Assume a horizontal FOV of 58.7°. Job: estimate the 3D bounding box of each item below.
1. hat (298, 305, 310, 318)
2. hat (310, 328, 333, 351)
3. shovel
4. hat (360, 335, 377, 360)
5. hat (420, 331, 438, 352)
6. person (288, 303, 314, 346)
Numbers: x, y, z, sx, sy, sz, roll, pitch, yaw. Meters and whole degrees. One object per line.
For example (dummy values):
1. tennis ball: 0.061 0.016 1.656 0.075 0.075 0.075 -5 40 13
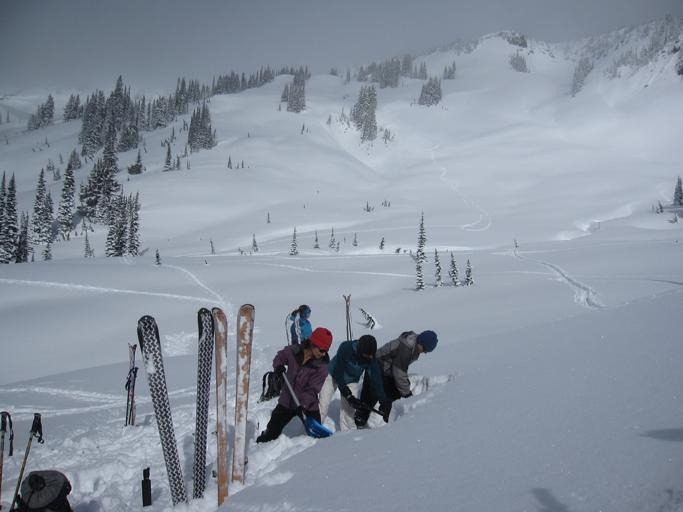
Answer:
1. hat: -1.576 2.405 26.019 0.366 0.623 0.536 1 -6 -15
2. hat: -0.619 2.994 21.579 0.587 0.715 0.800 16 8 -39
3. shovel: -1.103 5.917 21.596 0.948 3.457 0.625 -3 -38 -40
4. hat: 0.944 3.125 21.501 0.510 0.825 0.739 4 -51 -7
5. hat: 3.165 3.068 21.571 0.509 0.785 0.604 16 -39 -22
6. person: -1.922 2.783 26.215 1.005 1.004 2.756 11 -41 -6
